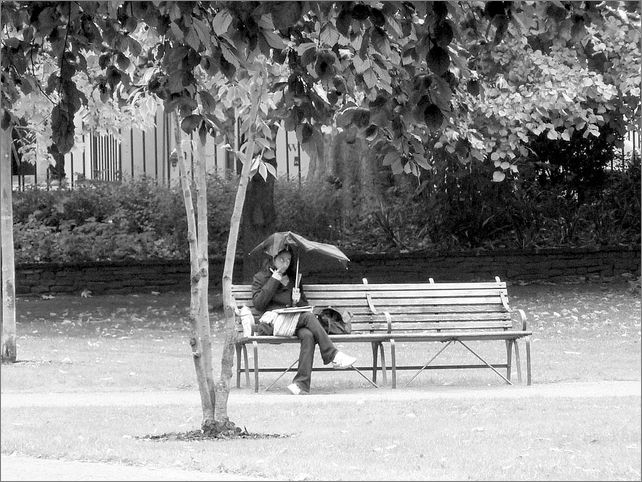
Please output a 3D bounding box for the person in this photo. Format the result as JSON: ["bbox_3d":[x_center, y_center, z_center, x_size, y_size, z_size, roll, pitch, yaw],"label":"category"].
[{"bbox_3d":[-0.268,0.931,12.998,0.932,1.530,1.424,-1,0,-23],"label":"person"}]

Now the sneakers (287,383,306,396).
[{"bbox_3d":[-0.306,1.744,12.241,0.259,0.108,0.253,-1,0,20],"label":"sneakers"}]

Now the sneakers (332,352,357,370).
[{"bbox_3d":[0.280,1.475,12.793,0.274,0.174,0.412,-1,0,3],"label":"sneakers"}]
